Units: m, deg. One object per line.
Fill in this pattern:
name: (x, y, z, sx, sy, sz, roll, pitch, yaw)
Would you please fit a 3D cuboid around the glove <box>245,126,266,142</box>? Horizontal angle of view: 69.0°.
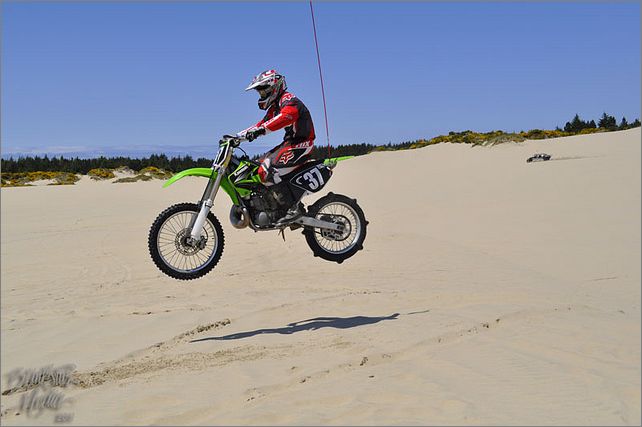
glove: (-1.360, -1.638, 9.565, 0.394, 0.250, 0.182, -7, 9, -28)
